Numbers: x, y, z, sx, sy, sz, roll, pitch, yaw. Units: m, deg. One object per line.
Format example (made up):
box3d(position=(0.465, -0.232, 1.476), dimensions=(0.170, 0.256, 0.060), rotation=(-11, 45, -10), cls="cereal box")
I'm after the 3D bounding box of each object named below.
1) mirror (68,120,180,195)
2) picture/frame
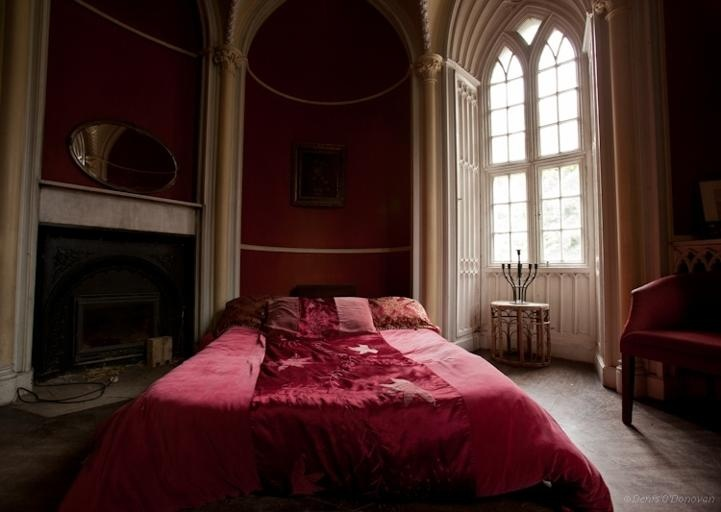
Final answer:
box3d(position=(-2.425, -0.989, 5.036), dimensions=(0.759, 0.603, 0.102), rotation=(3, -6, -41), cls="mirror")
box3d(position=(-0.527, -0.976, 6.016), dimensions=(0.729, 0.887, 0.089), rotation=(1, -4, -9), cls="picture/frame")
